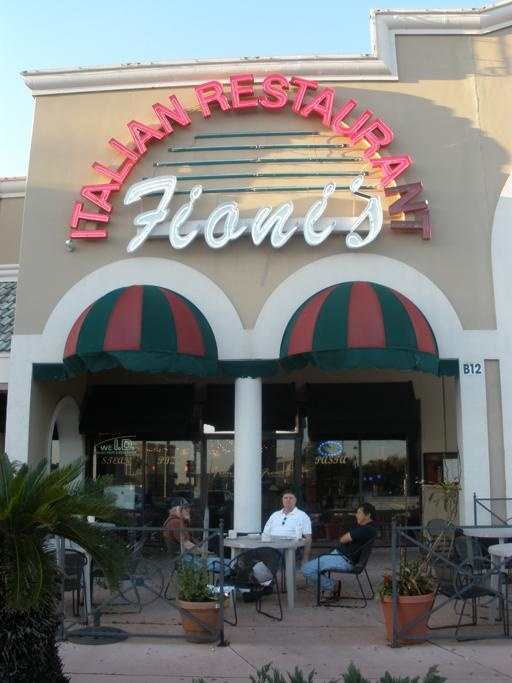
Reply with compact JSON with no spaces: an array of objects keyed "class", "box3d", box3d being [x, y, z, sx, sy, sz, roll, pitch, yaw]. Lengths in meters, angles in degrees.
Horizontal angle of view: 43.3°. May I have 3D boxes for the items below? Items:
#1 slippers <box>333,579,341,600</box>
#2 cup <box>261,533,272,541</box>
[{"class":"slippers","box3d":[1.189,3.627,9.421,0.097,0.299,0.121,0,-1,4]},{"class":"cup","box3d":[0.150,2.786,9.196,0.127,0.089,0.095,-1,-4,6]}]
